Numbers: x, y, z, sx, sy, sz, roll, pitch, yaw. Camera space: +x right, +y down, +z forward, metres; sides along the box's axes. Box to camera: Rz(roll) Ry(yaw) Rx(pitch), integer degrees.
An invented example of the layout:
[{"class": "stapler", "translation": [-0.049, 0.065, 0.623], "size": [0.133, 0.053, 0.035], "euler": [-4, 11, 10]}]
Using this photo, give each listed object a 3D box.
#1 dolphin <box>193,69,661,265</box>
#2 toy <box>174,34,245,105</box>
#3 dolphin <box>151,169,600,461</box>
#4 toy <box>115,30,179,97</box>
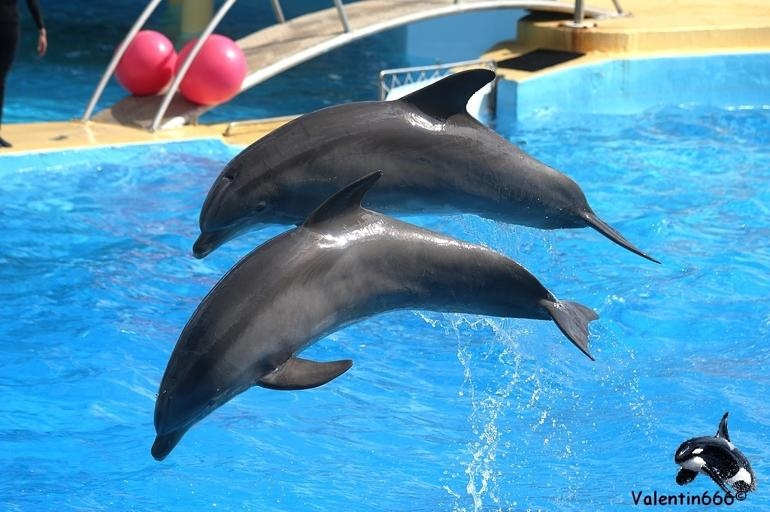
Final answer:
[{"class": "dolphin", "translation": [0.153, -0.566, 6.771], "size": [3.390, 1.129, 1.244], "euler": [-3, 0, -13]}, {"class": "toy", "translation": [-1.881, -2.024, 10.397], "size": [0.779, 0.701, 0.541], "euler": [-24, 33, -39]}, {"class": "dolphin", "translation": [-0.311, 0.241, 5.716], "size": [2.594, 1.017, 0.830], "euler": [-20, 44, -11]}, {"class": "toy", "translation": [-2.664, -2.172, 10.627], "size": [0.585, 0.788, 0.459], "euler": [-23, 35, -35]}]
